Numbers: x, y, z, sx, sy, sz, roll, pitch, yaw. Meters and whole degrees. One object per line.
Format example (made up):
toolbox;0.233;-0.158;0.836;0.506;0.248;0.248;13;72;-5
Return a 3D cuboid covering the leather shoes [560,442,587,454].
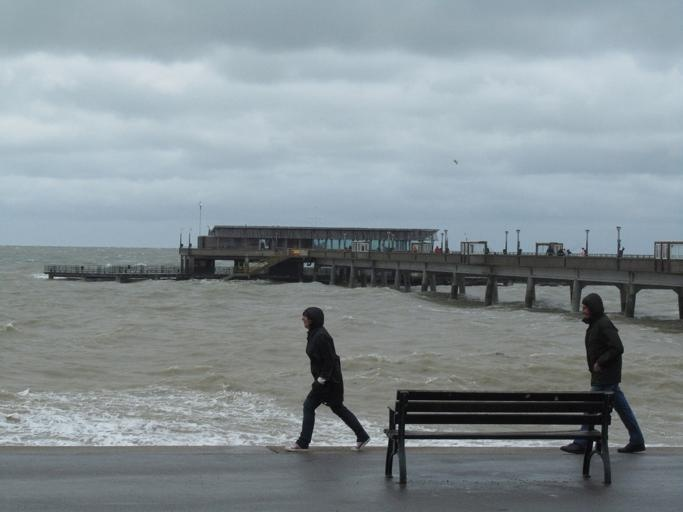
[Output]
leather shoes;3.956;3.240;18.407;0.485;0.187;0.157;0;1;10

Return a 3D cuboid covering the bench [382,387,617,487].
bench;2.403;2.706;16.704;3.210;1.258;1.096;0;-2;5

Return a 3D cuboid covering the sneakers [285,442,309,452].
sneakers;-0.750;3.256;18.536;0.325;0.116;0.171;2;-4;1

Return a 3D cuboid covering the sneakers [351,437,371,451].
sneakers;0.359;3.194;18.607;0.301;0.210;0.321;0;-1;7
